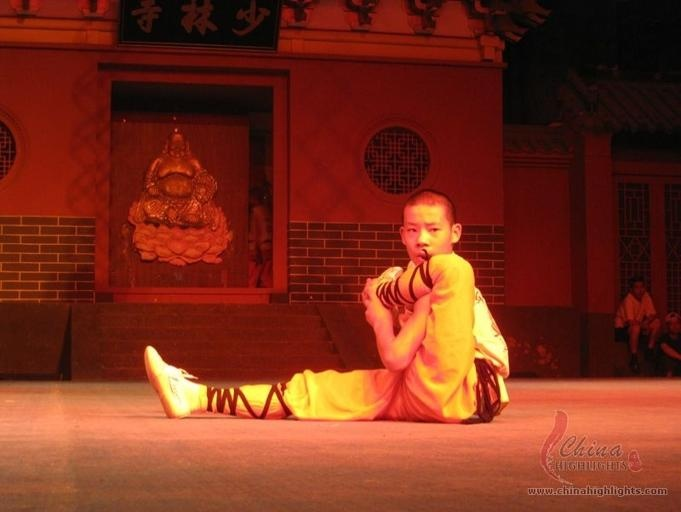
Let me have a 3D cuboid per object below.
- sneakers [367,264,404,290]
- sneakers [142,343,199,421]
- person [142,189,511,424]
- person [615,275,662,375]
[{"bbox_3d":[0.244,0.120,4.623,0.151,0.049,0.089,-27,18,-2],"label":"sneakers"},{"bbox_3d":[-0.888,0.634,4.498,0.242,0.411,0.157,-37,24,-27],"label":"sneakers"},{"bbox_3d":[-0.087,0.303,4.655,1.902,1.204,0.871,-1,-1,0],"label":"person"},{"bbox_3d":[3.613,0.850,10.669,0.514,1.174,0.347,-1,-4,17],"label":"person"}]
